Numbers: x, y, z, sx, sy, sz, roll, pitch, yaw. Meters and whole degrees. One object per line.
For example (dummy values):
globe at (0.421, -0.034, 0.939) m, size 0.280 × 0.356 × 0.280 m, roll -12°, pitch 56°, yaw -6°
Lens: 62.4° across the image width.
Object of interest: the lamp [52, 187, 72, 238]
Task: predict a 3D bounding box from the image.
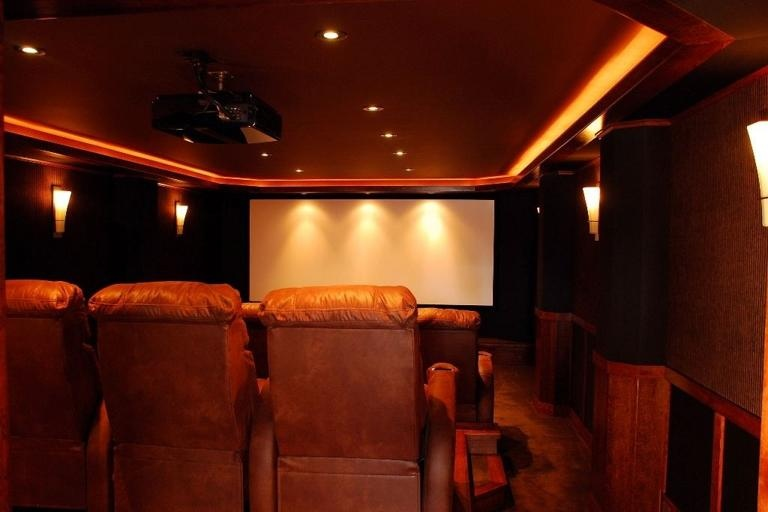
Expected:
lamp at (-3.445, -0.467, 6.736) m, size 0.118 × 0.539 × 0.190 m, roll 2°, pitch -1°, yaw 10°

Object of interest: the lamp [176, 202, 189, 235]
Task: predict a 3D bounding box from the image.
lamp at (-2.942, -0.534, 9.212) m, size 0.125 × 0.431 × 0.424 m, roll 2°, pitch -2°, yaw -6°

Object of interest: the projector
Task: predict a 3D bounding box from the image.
projector at (-1.268, -1.083, 4.799) m, size 0.948 × 0.334 × 0.543 m, roll 3°, pitch -2°, yaw -13°
